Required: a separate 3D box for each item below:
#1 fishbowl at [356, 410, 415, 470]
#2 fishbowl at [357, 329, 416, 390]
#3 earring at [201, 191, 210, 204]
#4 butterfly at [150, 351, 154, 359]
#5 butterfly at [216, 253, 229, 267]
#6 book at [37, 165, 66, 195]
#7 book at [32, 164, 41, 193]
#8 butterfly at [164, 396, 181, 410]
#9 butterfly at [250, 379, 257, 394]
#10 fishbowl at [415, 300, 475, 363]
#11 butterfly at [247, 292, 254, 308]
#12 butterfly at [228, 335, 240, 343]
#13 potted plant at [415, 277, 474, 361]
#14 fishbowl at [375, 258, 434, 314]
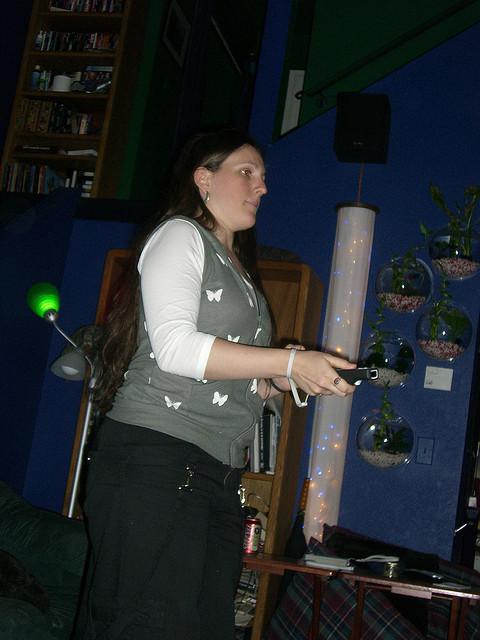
[{"bbox_3d":[0.770,0.636,2.760,0.282,0.248,0.135,11,-3,15],"label":"fishbowl"},{"bbox_3d":[0.794,0.210,2.827,0.290,0.261,0.146,11,-3,6],"label":"fishbowl"},{"bbox_3d":[-0.072,-0.269,1.127,0.020,0.025,0.007,-1,-6,-11],"label":"earring"},{"bbox_3d":[-0.143,0.058,0.843,0.004,0.010,0.017,14,-3,-25],"label":"butterfly"},{"bbox_3d":[-0.033,-0.106,0.906,0.009,0.005,0.049,-4,28,-12],"label":"butterfly"},{"bbox_3d":[-1.677,-1.223,4.618,0.120,0.270,0.266,11,-3,22],"label":"book"},{"bbox_3d":[-1.781,-1.243,4.522,0.050,0.194,0.196,6,-5,-12],"label":"book"},{"bbox_3d":[-0.107,0.130,0.811,0.021,0.014,0.001,13,0,10],"label":"butterfly"},{"bbox_3d":[0.027,0.127,0.990,0.008,0.027,0.026,6,-45,16],"label":"butterfly"},{"bbox_3d":[1.138,0.056,2.860,0.314,0.269,0.204,10,-3,18],"label":"fishbowl"},{"bbox_3d":[0.019,-0.037,0.950,0.017,0.023,0.043,12,-2,1],"label":"butterfly"},{"bbox_3d":[-0.012,0.031,0.872,0.019,0.018,0.002,3,-47,-2],"label":"butterfly"},{"bbox_3d":[1.143,-0.005,2.873,0.293,0.357,0.217,11,-3,17],"label":"potted plant"},{"bbox_3d":[0.925,-0.189,2.867,0.323,0.293,0.197,2,-3,9],"label":"fishbowl"}]
